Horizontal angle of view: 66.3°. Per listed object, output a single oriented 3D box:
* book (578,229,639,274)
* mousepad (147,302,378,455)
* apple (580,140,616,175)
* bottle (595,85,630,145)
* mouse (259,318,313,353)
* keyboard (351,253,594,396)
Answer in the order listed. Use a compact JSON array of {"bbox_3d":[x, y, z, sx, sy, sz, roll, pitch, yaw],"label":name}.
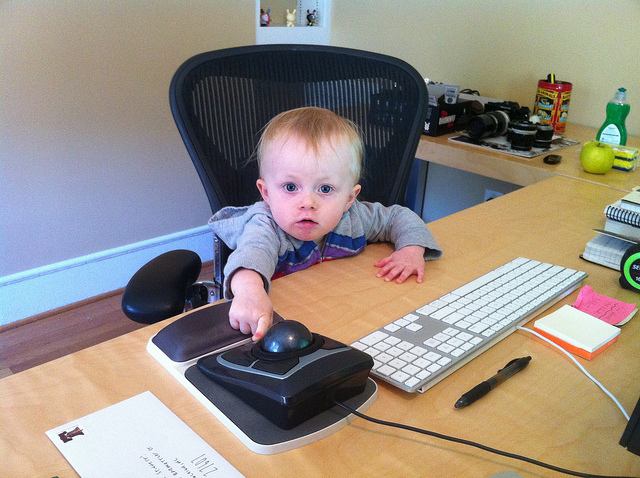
[{"bbox_3d":[0.650,0.020,1.099,0.101,0.061,0.101,24,38,35],"label":"book"},{"bbox_3d":[-0.025,0.133,0.857,0.331,0.145,0.437,-10,21,-37],"label":"mousepad"},{"bbox_3d":[0.906,-0.264,1.604,0.104,0.107,0.106,-4,15,-15],"label":"apple"},{"bbox_3d":[1.095,-0.452,1.797,0.097,0.260,0.074,16,61,31],"label":"bottle"},{"bbox_3d":[-0.045,0.148,0.737,0.089,0.038,0.098,-3,12,6],"label":"mouse"},{"bbox_3d":[0.300,0.129,0.920,0.552,0.031,0.147,-21,37,-32],"label":"keyboard"}]
